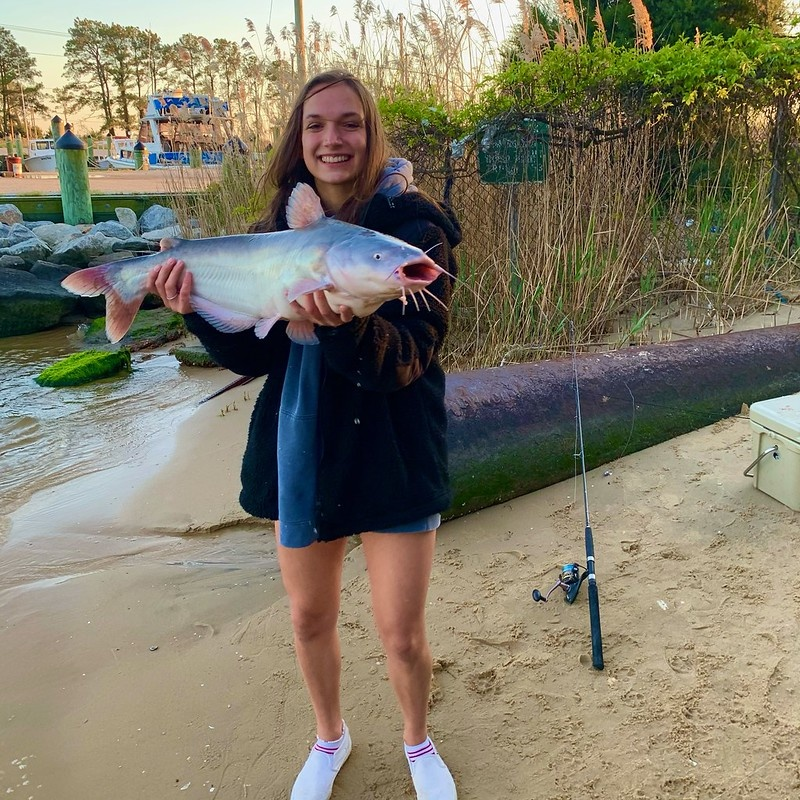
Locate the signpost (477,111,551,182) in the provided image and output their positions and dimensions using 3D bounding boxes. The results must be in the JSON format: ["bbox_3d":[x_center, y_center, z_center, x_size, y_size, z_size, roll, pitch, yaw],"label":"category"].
[{"bbox_3d":[0.805,-1.799,5.380,0.668,0.512,0.088,-1,6,-12],"label":"signpost"}]

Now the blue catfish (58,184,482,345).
[{"bbox_3d":[-0.404,-0.338,2.057,1.111,0.403,0.218,-2,25,16],"label":"blue catfish"}]
